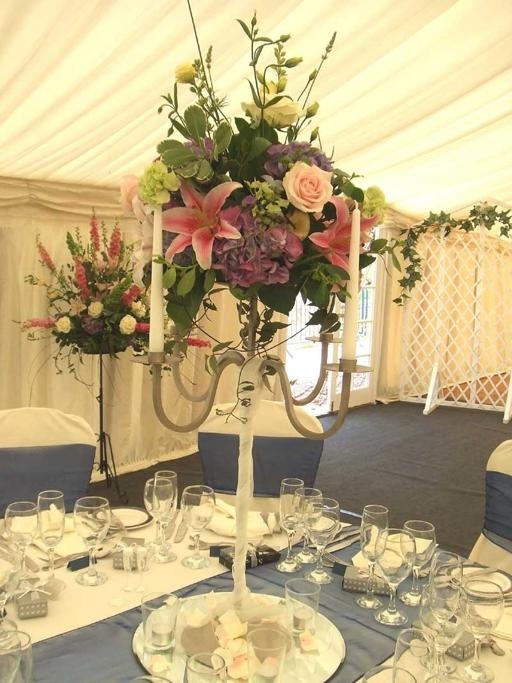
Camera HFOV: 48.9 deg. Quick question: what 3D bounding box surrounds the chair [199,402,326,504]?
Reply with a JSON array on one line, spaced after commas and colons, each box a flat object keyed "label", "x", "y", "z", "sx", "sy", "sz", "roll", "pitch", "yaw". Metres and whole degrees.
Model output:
[{"label": "chair", "x": -0.004, "y": 0.343, "z": 2.299, "sx": 0.478, "sy": 0.543, "sz": 0.444, "roll": 4, "pitch": 4, "yaw": 5}]
